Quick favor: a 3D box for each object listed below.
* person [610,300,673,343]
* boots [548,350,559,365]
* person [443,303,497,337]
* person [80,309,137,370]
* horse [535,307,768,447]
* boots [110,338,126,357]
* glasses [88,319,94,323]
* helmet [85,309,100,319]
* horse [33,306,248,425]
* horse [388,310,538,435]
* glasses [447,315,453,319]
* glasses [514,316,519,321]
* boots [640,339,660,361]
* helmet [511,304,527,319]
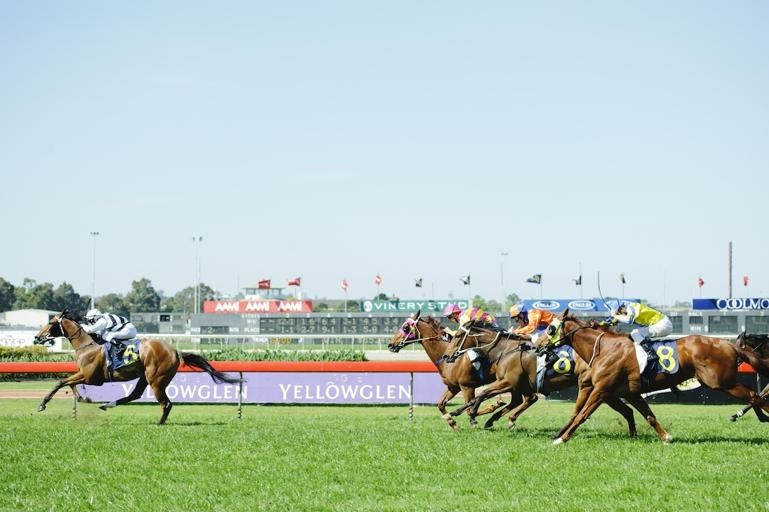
[{"bbox_3d":[4.160,1.114,22.789,1.166,0.710,0.772,6,14,12],"label":"person"},{"bbox_3d":[2.804,1.698,23.173,0.146,0.193,0.060,1,10,-36],"label":"boots"},{"bbox_3d":[1.622,1.150,24.524,1.172,0.517,0.361,1,13,5],"label":"person"},{"bbox_3d":[-4.891,1.347,24.815,0.747,1.031,0.456,0,31,6],"label":"person"},{"bbox_3d":[4.166,1.921,22.289,3.175,2.088,0.949,0,-7,5],"label":"horse"},{"bbox_3d":[-4.689,1.597,24.367,0.299,0.295,0.150,0,-7,6],"label":"boots"},{"bbox_3d":[-5.219,1.157,24.653,0.068,0.051,0.092,0,-4,-21],"label":"glasses"},{"bbox_3d":[-5.195,1.036,24.644,0.229,0.178,0.174,-15,8,-4],"label":"helmet"},{"bbox_3d":[-4.485,2.085,24.577,3.502,2.075,0.764,2,-15,-4],"label":"horse"},{"bbox_3d":[1.701,1.971,24.467,3.208,2.141,0.852,-1,-2,-14],"label":"horse"},{"bbox_3d":[1.167,1.116,25.190,0.058,0.075,0.055,0,-46,5],"label":"glasses"},{"bbox_3d":[2.340,1.112,24.677,0.061,0.070,0.078,-9,-7,9],"label":"glasses"},{"bbox_3d":[4.205,1.489,22.142,0.203,0.311,0.130,-7,-7,-2],"label":"boots"},{"bbox_3d":[2.336,0.977,24.402,0.205,0.275,0.198,50,-6,-24],"label":"helmet"}]
